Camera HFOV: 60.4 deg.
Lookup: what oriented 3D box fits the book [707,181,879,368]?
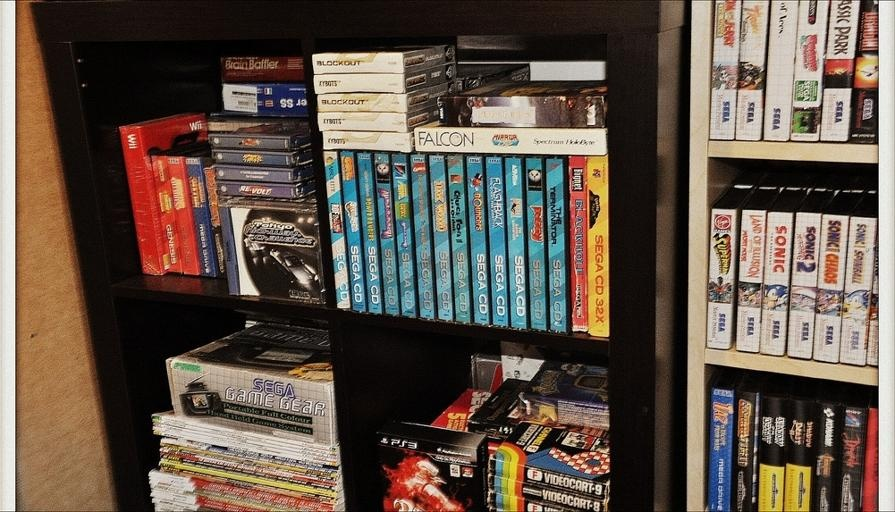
[{"bbox_3d":[0.945,0.001,2.244,0.527,0.498,0.651,2,8,29],"label":"book"}]
